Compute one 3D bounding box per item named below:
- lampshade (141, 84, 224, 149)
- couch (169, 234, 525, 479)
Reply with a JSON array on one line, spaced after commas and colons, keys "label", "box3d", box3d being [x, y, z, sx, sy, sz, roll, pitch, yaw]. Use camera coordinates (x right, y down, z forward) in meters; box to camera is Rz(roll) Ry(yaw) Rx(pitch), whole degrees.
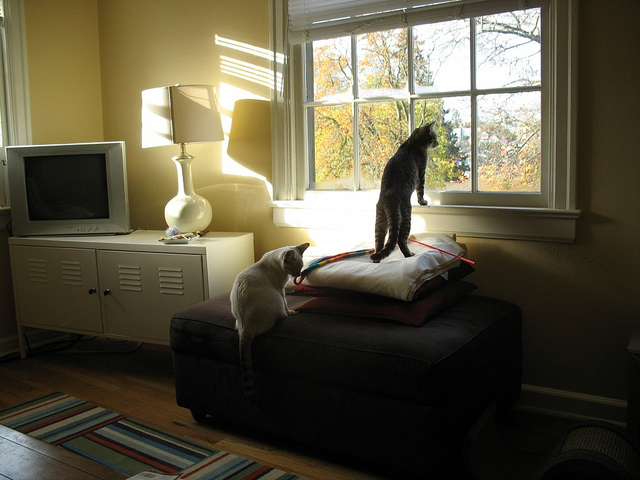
[{"label": "lampshade", "box3d": [-0.843, -0.713, 3.249, 0.379, 0.313, 0.390, 2, 11, 39]}, {"label": "couch", "box3d": [0.255, 0.367, 2.521, 1.408, 0.969, 1.028, 2, 8, 36]}]
